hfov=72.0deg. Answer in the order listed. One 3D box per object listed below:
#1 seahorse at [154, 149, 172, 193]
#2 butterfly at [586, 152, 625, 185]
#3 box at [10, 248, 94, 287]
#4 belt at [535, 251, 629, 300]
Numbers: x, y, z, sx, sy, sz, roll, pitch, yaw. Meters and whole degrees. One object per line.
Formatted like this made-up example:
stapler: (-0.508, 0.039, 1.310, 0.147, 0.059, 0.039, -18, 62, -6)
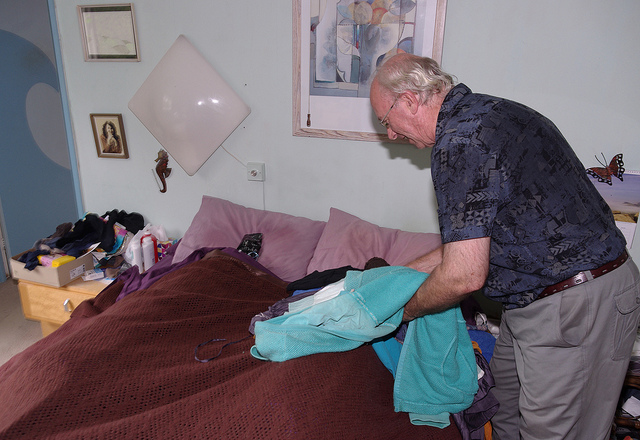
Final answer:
seahorse: (-1.206, -0.369, 3.409, 0.132, 0.329, 0.055, 3, 10, 16)
butterfly: (1.681, -0.304, 2.584, 0.209, 0.181, 0.027, -34, 0, 17)
box: (-1.805, 0.254, 3.019, 0.335, 0.115, 0.313, 8, 20, 19)
belt: (1.054, 0.230, 1.772, 0.211, 0.047, 0.190, -34, -9, 0)
